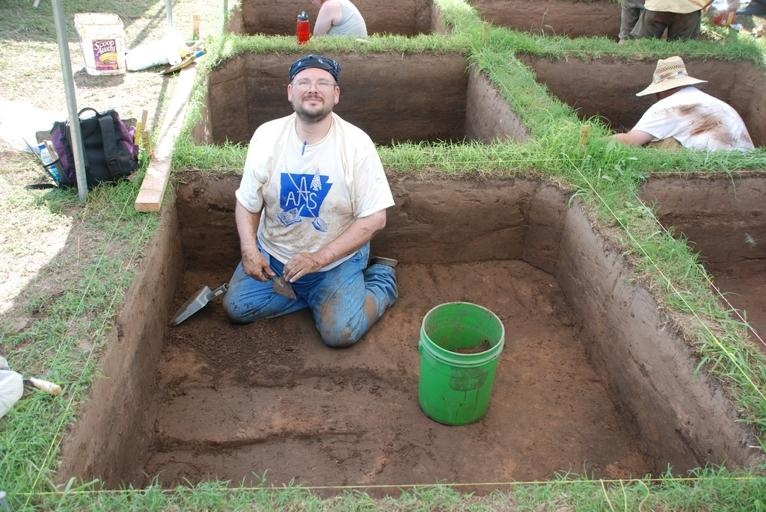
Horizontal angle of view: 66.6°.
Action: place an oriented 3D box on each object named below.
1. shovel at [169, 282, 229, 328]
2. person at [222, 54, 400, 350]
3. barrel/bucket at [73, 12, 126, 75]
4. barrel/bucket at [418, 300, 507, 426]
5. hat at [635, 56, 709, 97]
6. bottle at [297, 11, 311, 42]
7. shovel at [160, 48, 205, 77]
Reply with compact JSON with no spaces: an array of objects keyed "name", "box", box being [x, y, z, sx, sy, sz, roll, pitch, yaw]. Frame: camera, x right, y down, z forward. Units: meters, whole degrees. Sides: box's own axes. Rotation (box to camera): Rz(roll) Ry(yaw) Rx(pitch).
[{"name":"shovel","box":[-1.365,0.353,4.375,0.212,0.204,0.462,21,35,26]},{"name":"person","box":[-0.480,-0.432,4.222,1.344,1.892,1.018,6,21,3]},{"name":"barrel/bucket","box":[-2.942,-2.191,6.048,0.473,0.541,0.459,9,40,-8]},{"name":"barrel/bucket","box":[0.507,0.707,3.879,0.512,0.649,0.521,3,31,-2]},{"name":"hat","box":[2.707,-1.731,5.490,0.572,0.265,0.620,-22,26,-32]},{"name":"bottle","box":[-0.847,-2.426,6.243,0.123,0.294,0.230,1,31,-4]},{"name":"shovel","box":[-2.032,-1.954,5.959,0.366,0.076,0.289,-41,26,-3]}]
